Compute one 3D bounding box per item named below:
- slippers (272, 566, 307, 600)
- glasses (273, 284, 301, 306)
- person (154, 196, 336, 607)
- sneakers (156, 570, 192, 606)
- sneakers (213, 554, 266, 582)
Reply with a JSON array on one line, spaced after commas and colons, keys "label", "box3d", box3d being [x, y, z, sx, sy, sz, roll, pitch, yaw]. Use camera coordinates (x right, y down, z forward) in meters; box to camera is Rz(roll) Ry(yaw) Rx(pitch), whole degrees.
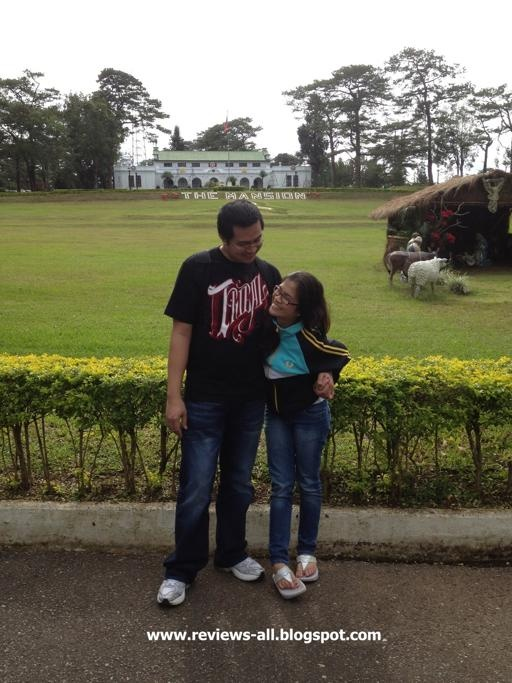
[{"label": "slippers", "box3d": [0.121, 0.996, 3.106, 0.159, 0.111, 0.132, 1, 12, 19]}, {"label": "glasses", "box3d": [0.132, -0.195, 3.184, 0.091, 0.026, 0.096, 29, 8, 39]}, {"label": "person", "box3d": [-0.186, 0.226, 3.154, 0.398, 1.611, 0.807, 8, 16, 40]}, {"label": "sneakers", "box3d": [-0.333, 1.011, 3.055, 0.091, 0.079, 0.215, 2, -13, 3]}, {"label": "sneakers", "box3d": [-0.054, 0.983, 3.227, 0.170, 0.058, 0.078, -6, -7, 34]}]
